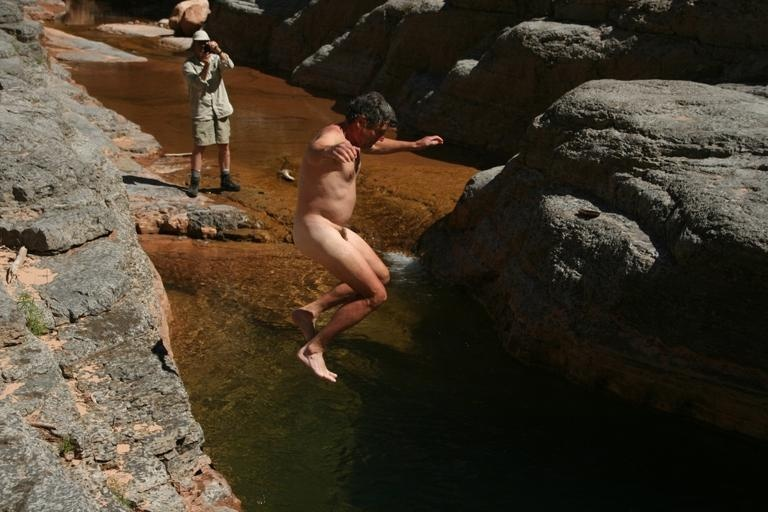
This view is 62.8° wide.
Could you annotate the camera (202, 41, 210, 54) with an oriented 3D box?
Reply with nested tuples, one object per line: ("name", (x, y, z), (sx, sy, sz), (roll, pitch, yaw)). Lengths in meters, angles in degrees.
("camera", (-2.132, -2.507, 7.564), (0.090, 0.116, 0.132), (11, 30, -17))
